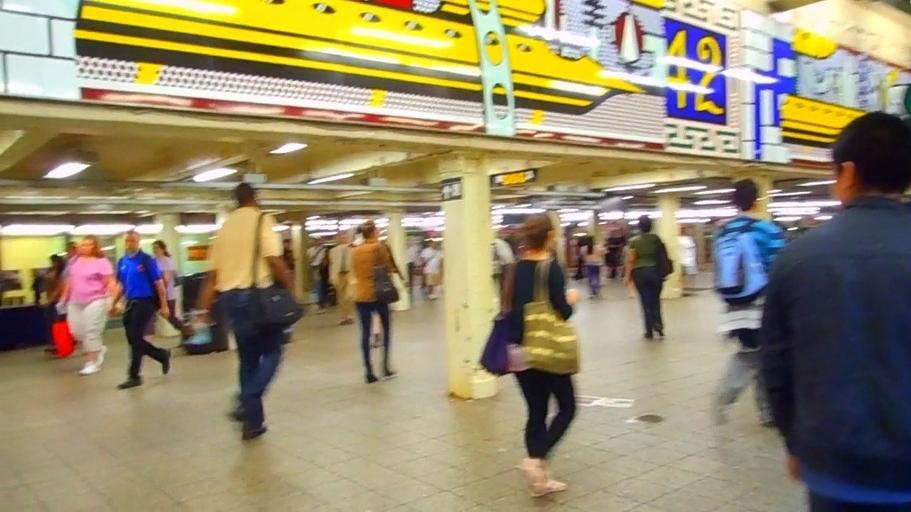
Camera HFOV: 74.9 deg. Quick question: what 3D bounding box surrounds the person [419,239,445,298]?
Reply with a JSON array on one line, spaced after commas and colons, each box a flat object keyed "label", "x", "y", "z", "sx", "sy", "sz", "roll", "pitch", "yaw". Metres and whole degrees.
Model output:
[{"label": "person", "x": -0.867, "y": 0.497, "z": 21.349, "sx": 0.658, "sy": 2.109, "sz": 1.515, "roll": -6, "pitch": 10, "yaw": -5}]

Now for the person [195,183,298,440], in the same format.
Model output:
[{"label": "person", "x": -2.599, "y": 0.723, "z": 7.563, "sx": 1.132, "sy": 3.206, "sz": 0.656, "roll": -6, "pitch": 11, "yaw": -10}]

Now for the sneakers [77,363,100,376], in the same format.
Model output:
[{"label": "sneakers", "x": -6.951, "y": 2.141, "z": 11.305, "sx": 0.283, "sy": 0.106, "sz": 0.302, "roll": -3, "pitch": 7, "yaw": 6}]

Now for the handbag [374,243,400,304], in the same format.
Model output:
[{"label": "handbag", "x": -1.130, "y": 0.293, "z": 9.763, "sx": 0.339, "sy": 1.036, "sz": 0.508, "roll": -3, "pitch": 10, "yaw": 7}]

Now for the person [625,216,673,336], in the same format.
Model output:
[{"label": "person", "x": 3.863, "y": 0.426, "z": 11.975, "sx": 0.864, "sy": 2.498, "sz": 0.682, "roll": -2, "pitch": 11, "yaw": 14}]

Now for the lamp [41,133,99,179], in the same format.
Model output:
[{"label": "lamp", "x": -6.157, "y": -1.618, "z": 9.461, "sx": 1.186, "sy": 0.322, "sz": 0.306, "roll": -15, "pitch": 5, "yaw": 35}]

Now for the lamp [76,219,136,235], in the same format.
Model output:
[{"label": "lamp", "x": -9.511, "y": -0.748, "z": 15.999, "sx": 0.983, "sy": 0.186, "sz": 0.917, "roll": -3, "pitch": -4, "yaw": -5}]

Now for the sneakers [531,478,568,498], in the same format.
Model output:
[{"label": "sneakers", "x": 0.948, "y": 2.372, "z": 6.144, "sx": 0.363, "sy": 0.110, "sz": 0.155, "roll": -4, "pitch": 4, "yaw": -21}]

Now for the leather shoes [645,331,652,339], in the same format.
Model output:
[{"label": "leather shoes", "x": 3.857, "y": 1.576, "z": 11.971, "sx": 0.184, "sy": 0.132, "sz": 0.160, "roll": 1, "pitch": 1, "yaw": -9}]

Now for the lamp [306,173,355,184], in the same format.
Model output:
[{"label": "lamp", "x": -2.824, "y": -1.720, "z": 13.185, "sx": 0.800, "sy": 0.183, "sz": 3.040, "roll": -5, "pitch": 8, "yaw": -14}]

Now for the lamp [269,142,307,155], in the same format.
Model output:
[{"label": "lamp", "x": -2.731, "y": -1.770, "z": 9.731, "sx": 0.518, "sy": 0.130, "sz": 0.480, "roll": -8, "pitch": 11, "yaw": -28}]
